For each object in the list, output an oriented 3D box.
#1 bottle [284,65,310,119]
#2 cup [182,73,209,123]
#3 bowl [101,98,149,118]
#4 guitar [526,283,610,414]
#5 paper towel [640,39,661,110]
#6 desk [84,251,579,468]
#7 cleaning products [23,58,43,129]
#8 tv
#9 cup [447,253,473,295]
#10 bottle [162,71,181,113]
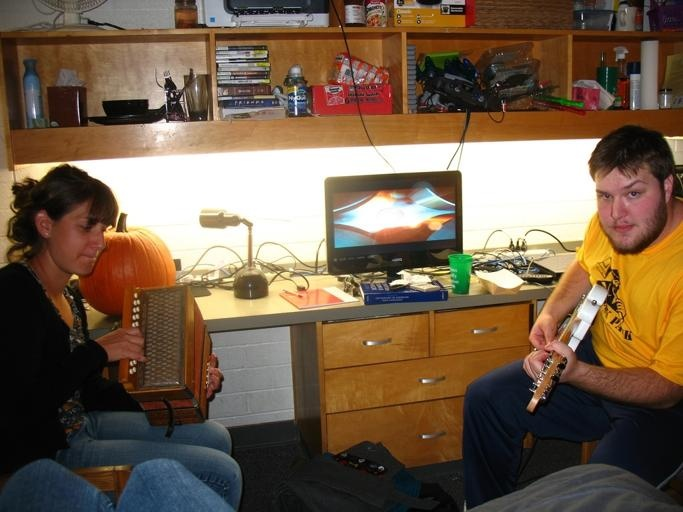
[{"bbox_3d":[-0.203,-0.774,2.621,0.114,0.233,0.139,-5,15,-3],"label":"bottle"},{"bbox_3d":[-0.670,-0.738,2.592,0.139,0.193,0.131,0,14,0],"label":"cup"},{"bbox_3d":[-0.957,-0.656,2.467,0.181,0.075,0.115,-10,16,-25],"label":"bowl"},{"bbox_3d":[0.858,0.349,2.043,0.078,0.224,0.563,34,42,19],"label":"guitar"},{"bbox_3d":[1.641,-0.950,2.949,0.116,0.364,0.109,-6,8,-17],"label":"paper towel"},{"bbox_3d":[0.096,0.635,2.583,1.942,0.683,0.566,-1,-14,-24],"label":"desk"},{"bbox_3d":[-1.388,-0.719,2.477,0.096,0.292,0.255,-12,17,-26],"label":"cleaning products"},{"bbox_3d":[0.249,-0.138,2.648,0.589,0.386,0.059,-3,10,-9],"label":"tv"},{"bbox_3d":[0.548,0.081,2.446,0.123,0.150,0.117,-1,1,0],"label":"cup"},{"bbox_3d":[-0.769,-0.734,2.517,0.069,0.189,0.059,-8,16,-14],"label":"bottle"}]
